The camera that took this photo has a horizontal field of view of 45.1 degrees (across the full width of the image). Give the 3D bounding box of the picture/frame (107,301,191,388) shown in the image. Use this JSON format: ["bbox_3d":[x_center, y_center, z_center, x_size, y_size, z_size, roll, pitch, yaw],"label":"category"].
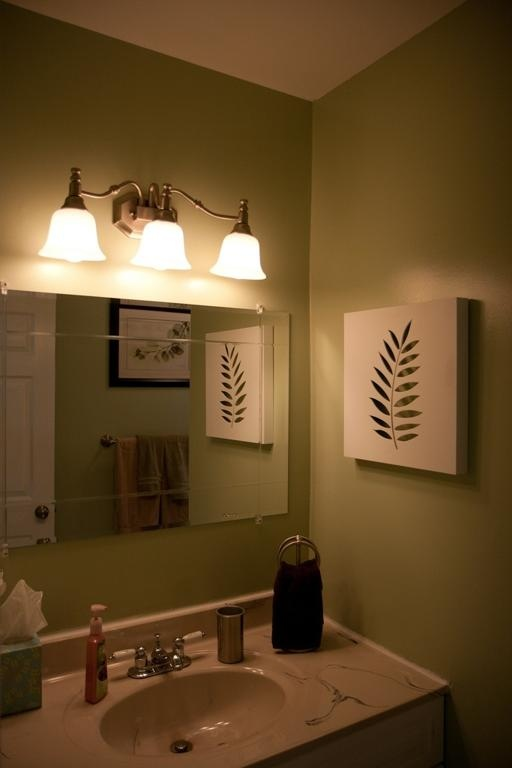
[{"bbox_3d":[-0.280,-0.098,1.545,0.198,0.211,0.014,1,-3,-37],"label":"picture/frame"}]

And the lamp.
[{"bbox_3d":[-0.239,-0.381,1.512,0.546,0.240,0.212,2,4,-27],"label":"lamp"}]
